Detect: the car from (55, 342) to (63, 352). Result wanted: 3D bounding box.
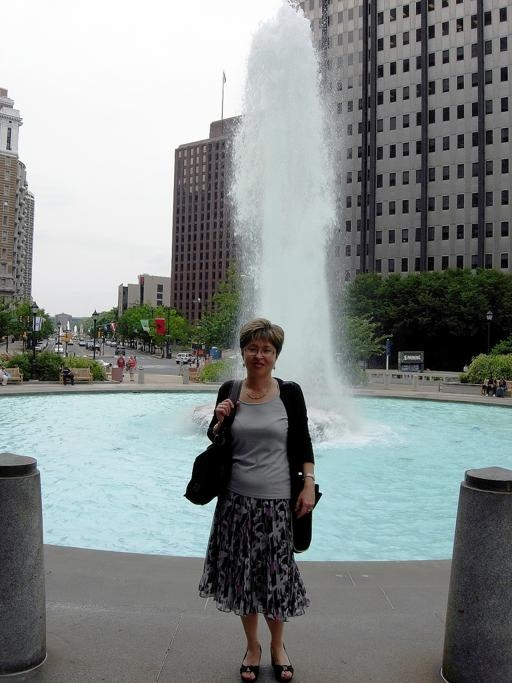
[{"bbox_3d":[-24.688,0.617,72.165,1.233,1.016,2.843,-2,0,-9],"label":"car"}]

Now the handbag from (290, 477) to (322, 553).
[{"bbox_3d":[0.253,0.921,3.101,0.172,0.384,0.093,2,-1,-7],"label":"handbag"}]

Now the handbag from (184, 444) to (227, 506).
[{"bbox_3d":[-0.263,0.721,3.026,0.188,0.353,0.086,21,-16,-15],"label":"handbag"}]

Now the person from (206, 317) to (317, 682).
[{"bbox_3d":[0.015,0.767,3.087,0.476,1.795,0.522,3,-5,-37],"label":"person"}]

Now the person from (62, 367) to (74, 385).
[{"bbox_3d":[-8.668,1.569,26.528,0.454,0.734,0.976,2,-4,-24],"label":"person"}]
